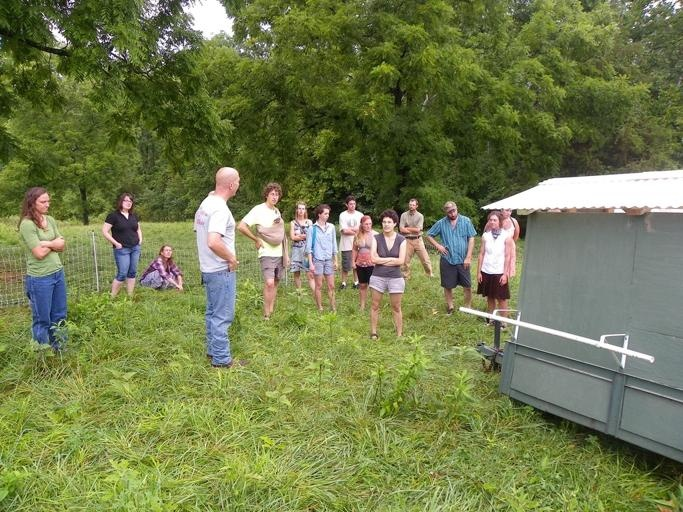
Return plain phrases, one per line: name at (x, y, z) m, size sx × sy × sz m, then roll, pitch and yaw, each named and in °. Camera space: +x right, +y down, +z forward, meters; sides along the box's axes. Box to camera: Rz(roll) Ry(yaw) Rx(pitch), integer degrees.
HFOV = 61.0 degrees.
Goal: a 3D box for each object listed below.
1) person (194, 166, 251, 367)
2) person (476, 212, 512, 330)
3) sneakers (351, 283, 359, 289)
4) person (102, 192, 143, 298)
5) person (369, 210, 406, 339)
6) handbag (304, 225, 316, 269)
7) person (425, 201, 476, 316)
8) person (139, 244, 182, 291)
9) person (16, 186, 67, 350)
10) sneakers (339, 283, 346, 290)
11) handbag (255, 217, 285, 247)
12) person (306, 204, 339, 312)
person at (-1.518, 0.134, 7.184) m, size 0.539 × 2.463 × 0.622 m, roll -2°, pitch 5°, yaw -14°
person at (2.403, 0.195, 9.063) m, size 0.548 × 1.760 × 0.677 m, roll 1°, pitch 5°, yaw 17°
sneakers at (0.281, 0.619, 11.839) m, size 0.112 × 0.142 × 0.205 m, roll -1°, pitch -6°, yaw 4°
person at (-3.681, -0.191, 9.750) m, size 0.563 × 1.714 × 1.005 m, roll -3°, pitch 5°, yaw -20°
person at (0.660, 0.326, 8.418) m, size 0.497 × 1.755 × 0.339 m, roll -1°, pitch 5°, yaw 2°
handbag at (-0.527, -0.139, 9.680) m, size 0.148 × 0.606 × 0.355 m, roll 4°, pitch 2°, yaw 34°
person at (1.890, 0.015, 9.915) m, size 0.728 × 1.860 × 0.790 m, roll 0°, pitch 5°, yaw 11°
person at (-3.298, 0.247, 10.752) m, size 0.840 × 0.879 × 0.615 m, roll 7°, pitch 0°, yaw 24°
person at (-3.670, 0.145, 7.167) m, size 0.475 × 1.977 × 0.615 m, roll -4°, pitch 6°, yaw -33°
sneakers at (0.022, 0.624, 11.723) m, size 0.113 × 0.161 × 0.367 m, roll -2°, pitch 1°, yaw 4°
handbag at (-1.094, -0.357, 8.986) m, size 0.339 × 0.308 × 0.409 m, roll -5°, pitch 12°, yaw -44°
person at (-0.345, 0.014, 10.018) m, size 0.492 × 1.783 × 1.149 m, roll -1°, pitch 5°, yaw -1°
